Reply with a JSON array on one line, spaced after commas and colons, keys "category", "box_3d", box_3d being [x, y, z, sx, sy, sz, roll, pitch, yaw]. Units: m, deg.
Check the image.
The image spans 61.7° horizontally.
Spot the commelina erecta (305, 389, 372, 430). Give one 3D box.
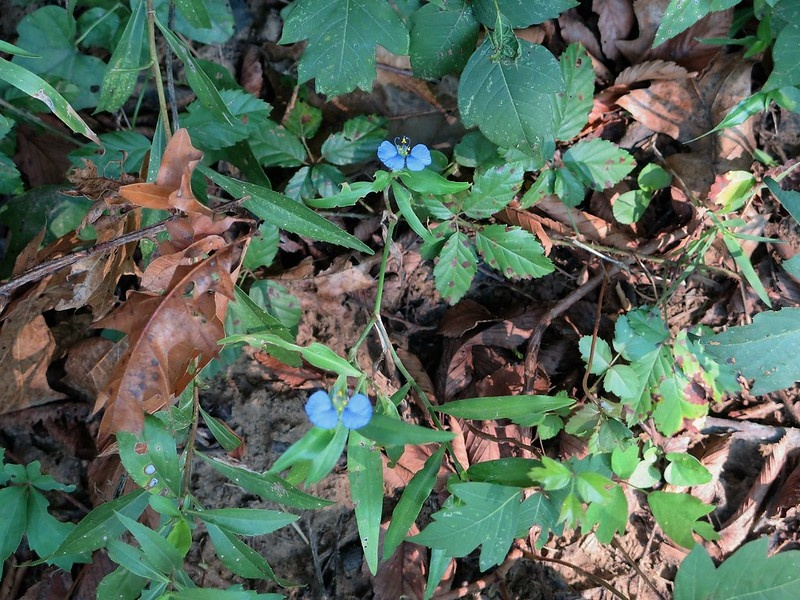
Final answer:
[{"category": "commelina erecta", "box_3d": [-0.201, 0.366, 2.185, 0.179, 0.066, 0.135, -5, 88, -16]}]
